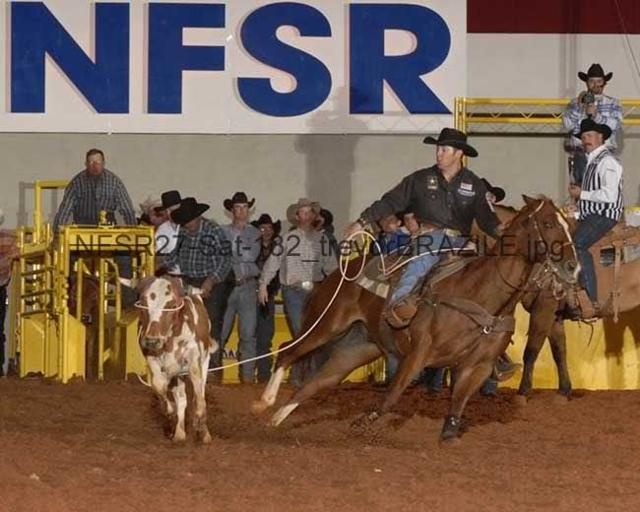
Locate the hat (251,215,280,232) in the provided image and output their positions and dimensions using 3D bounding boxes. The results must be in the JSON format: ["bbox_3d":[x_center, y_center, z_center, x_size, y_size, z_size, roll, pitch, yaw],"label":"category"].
[{"bbox_3d":[-0.861,-0.558,20.131,0.267,0.133,0.331,-2,-6,24],"label":"hat"}]

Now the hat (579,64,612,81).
[{"bbox_3d":[4.451,-2.942,19.914,0.426,0.215,0.542,4,-6,19],"label":"hat"}]

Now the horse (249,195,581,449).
[{"bbox_3d":[1.220,0.925,16.441,1.174,3.351,4.762,23,-19,-41],"label":"horse"}]

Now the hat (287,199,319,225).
[{"bbox_3d":[-0.266,-0.677,19.228,0.457,0.535,0.138,1,-1,7],"label":"hat"}]

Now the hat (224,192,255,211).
[{"bbox_3d":[-1.312,-0.902,19.844,0.360,0.188,0.457,-3,0,3],"label":"hat"}]

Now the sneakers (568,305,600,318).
[{"bbox_3d":[3.825,0.804,17.809,0.309,0.120,0.242,2,-7,-14],"label":"sneakers"}]

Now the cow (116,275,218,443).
[{"bbox_3d":[-1.847,1.272,15.801,1.007,2.168,1.573,0,10,-5],"label":"cow"}]

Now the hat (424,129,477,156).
[{"bbox_3d":[1.779,-1.463,15.994,0.500,0.201,0.443,22,-8,-18],"label":"hat"}]
